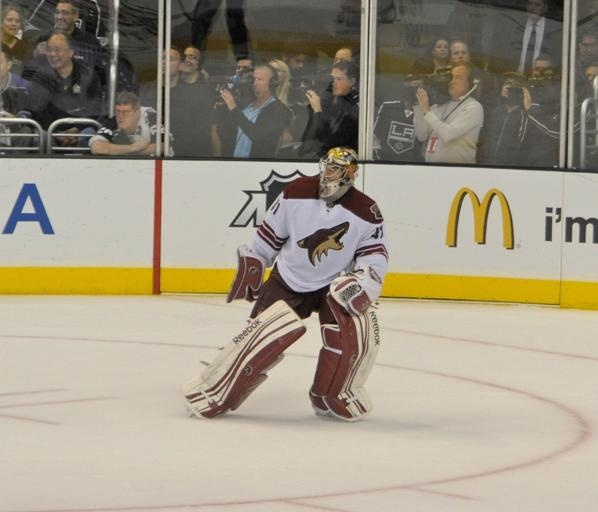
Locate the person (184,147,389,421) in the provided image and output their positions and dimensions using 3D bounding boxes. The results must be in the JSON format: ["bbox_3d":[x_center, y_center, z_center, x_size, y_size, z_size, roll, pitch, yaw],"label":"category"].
[{"bbox_3d":[-0.033,0.143,4.882,1.123,1.503,0.833,6,15,13],"label":"person"}]

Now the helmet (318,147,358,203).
[{"bbox_3d":[0.242,-0.446,4.798,0.263,0.291,0.210,11,-4,-20],"label":"helmet"}]
